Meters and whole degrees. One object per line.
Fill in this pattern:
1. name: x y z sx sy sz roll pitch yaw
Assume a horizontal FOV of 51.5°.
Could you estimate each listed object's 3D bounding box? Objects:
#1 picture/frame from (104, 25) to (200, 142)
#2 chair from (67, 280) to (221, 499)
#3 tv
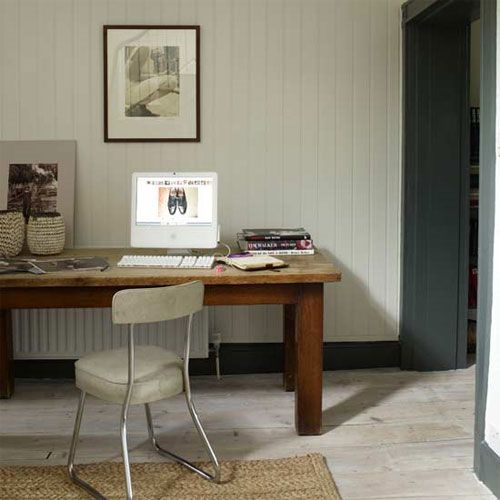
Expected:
1. picture/frame: -0.546 -0.953 2.948 0.537 0.709 0.020 -1 -9 -3
2. chair: -0.430 0.496 2.010 0.465 0.802 0.529 -7 11 -43
3. tv: -0.378 -0.194 2.648 0.386 0.379 0.143 0 0 2
